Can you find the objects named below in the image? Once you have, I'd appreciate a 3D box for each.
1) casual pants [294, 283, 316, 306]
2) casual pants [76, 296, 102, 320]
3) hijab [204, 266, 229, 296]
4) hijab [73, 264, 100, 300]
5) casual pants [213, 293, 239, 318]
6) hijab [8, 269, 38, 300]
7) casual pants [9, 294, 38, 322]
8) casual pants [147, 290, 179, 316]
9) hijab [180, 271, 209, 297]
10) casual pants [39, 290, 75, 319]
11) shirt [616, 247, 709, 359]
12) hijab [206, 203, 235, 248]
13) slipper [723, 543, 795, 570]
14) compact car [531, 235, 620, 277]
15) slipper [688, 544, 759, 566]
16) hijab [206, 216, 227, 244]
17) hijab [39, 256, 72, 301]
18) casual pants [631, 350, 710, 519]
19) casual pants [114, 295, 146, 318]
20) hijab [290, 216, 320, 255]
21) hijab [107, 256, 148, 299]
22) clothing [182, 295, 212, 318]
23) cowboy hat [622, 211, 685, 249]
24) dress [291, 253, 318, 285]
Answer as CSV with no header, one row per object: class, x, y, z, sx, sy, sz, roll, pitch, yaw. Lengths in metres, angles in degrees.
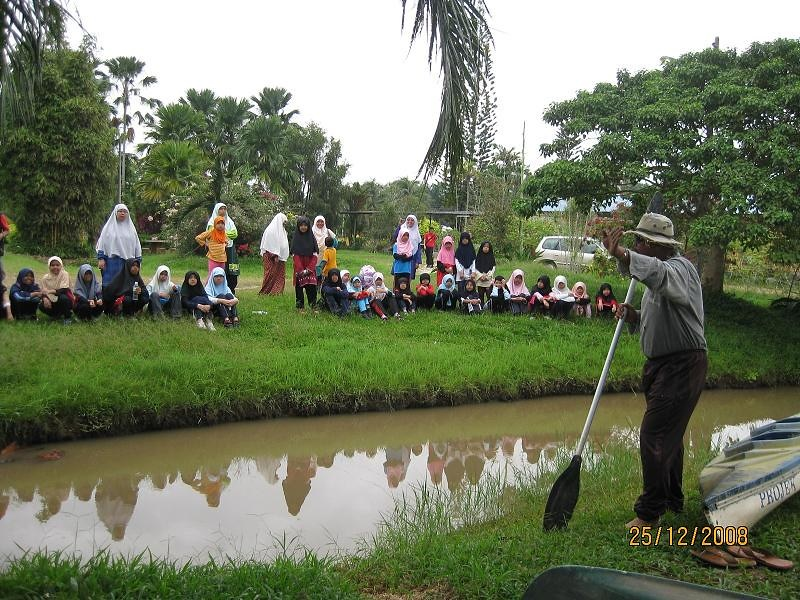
casual pants,-1.811,-0.113,14.904,0.337,0.732,0.237,-1,-6,-18
casual pants,-5.092,0.129,12.788,0.216,0.449,0.184,1,26,3
hijab,-3.284,-0.374,13.915,0.502,0.597,0.408,-2,1,-36
hijab,-5.180,-0.296,12.978,0.412,0.556,0.500,-4,7,-23
casual pants,-3.021,0.139,13.572,0.279,0.511,0.206,0,-10,-33
hijab,-6.066,-0.237,12.816,0.433,0.523,0.494,3,6,26
casual pants,-6.102,0.121,12.786,0.466,0.625,0.329,-3,-2,-43
casual pants,-4.000,0.056,13.329,0.322,0.349,0.531,1,0,-24
hijab,-3.534,-0.219,13.487,0.491,0.598,0.361,0,-2,-18
casual pants,-5.538,0.071,12.774,0.601,0.496,0.316,1,7,26
shirt,2.842,0.093,8.628,0.634,0.997,1.952,-2,-7,13
hijab,-3.398,-1.410,15.011,0.535,0.889,0.430,4,-12,-37
slipper,3.275,2.340,7.179,0.495,0.159,0.209,13,2,28
compact car,4.802,-1.340,22.442,1.319,1.304,2.662,-3,5,-43
slipper,2.949,2.357,7.206,0.441,0.142,0.214,-5,1,35
hijab,-3.385,-1.295,14.551,0.319,0.492,0.215,-4,7,-20
hijab,-5.676,-0.341,12.917,0.436,0.785,0.439,-2,4,-18
casual pants,2.586,1.301,7.702,0.699,1.632,0.361,-4,6,-19
casual pants,-4.524,0.069,13.103,0.336,0.168,0.343,9,14,43
hijab,-1.796,-1.149,14.870,0.480,0.760,0.406,-4,-19,3
hijab,-4.608,-0.330,13.304,0.819,0.774,0.447,9,-16,-43
clothing,-3.468,0.122,13.299,0.506,0.377,0.405,-3,6,-7
cowboy hat,2.539,-0.694,7.767,0.345,0.220,0.380,-3,22,-13
dress,-1.796,-0.554,14.780,0.411,0.577,0.273,-3,6,-12
